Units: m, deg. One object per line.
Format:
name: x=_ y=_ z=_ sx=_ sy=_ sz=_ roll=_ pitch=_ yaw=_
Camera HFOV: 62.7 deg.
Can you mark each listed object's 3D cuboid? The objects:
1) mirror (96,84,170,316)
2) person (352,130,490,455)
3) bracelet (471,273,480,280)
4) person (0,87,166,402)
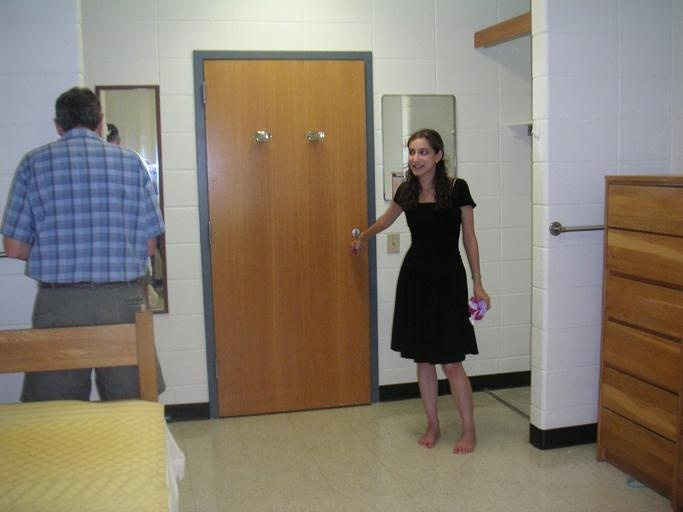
mirror: x=-1.239 y=-0.340 z=3.298 sx=0.451 sy=1.801 sz=0.045 roll=-3 pitch=-27 yaw=-19
person: x=0.564 y=0.207 z=3.429 sx=0.603 sy=1.923 sz=0.421 roll=-1 pitch=9 yaw=4
bracelet: x=0.802 y=0.114 z=3.329 sx=0.045 sy=0.045 sz=0.052 roll=-1 pitch=9 yaw=6
person: x=-1.266 y=-0.239 z=2.760 sx=0.726 sy=1.153 sz=0.226 roll=-4 pitch=9 yaw=-13
